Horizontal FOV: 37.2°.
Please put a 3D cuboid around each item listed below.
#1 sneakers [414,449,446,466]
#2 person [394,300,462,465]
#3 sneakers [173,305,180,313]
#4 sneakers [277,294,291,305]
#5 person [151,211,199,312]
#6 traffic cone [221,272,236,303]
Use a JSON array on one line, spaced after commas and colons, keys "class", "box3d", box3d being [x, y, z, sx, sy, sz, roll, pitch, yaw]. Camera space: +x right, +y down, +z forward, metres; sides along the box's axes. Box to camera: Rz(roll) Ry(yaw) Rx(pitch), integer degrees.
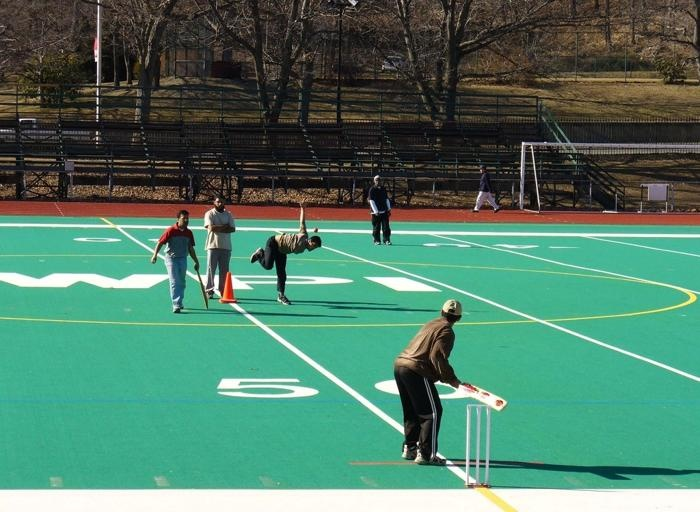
[{"class": "sneakers", "box3d": [1.061, 2.644, 13.722, 0.477, 0.218, 0.170, 1, 2, -10]}, {"class": "person", "box3d": [1.013, 1.623, 13.603, 0.834, 2.147, 0.705, 1, 10, 2]}, {"class": "sneakers", "box3d": [-3.278, 0.976, 19.875, 0.137, 0.155, 0.197, -2, 11, -16]}, {"class": "sneakers", "box3d": [-1.320, 0.851, 20.930, 0.321, 0.147, 0.131, 23, 15, 33]}, {"class": "person", "box3d": [-3.316, 0.043, 20.069, 0.803, 1.939, 0.918, -1, 11, -11]}, {"class": "traffic cone", "box3d": [-2.436, 0.573, 21.040, 0.328, 0.613, 0.719, -1, 11, -7]}]
